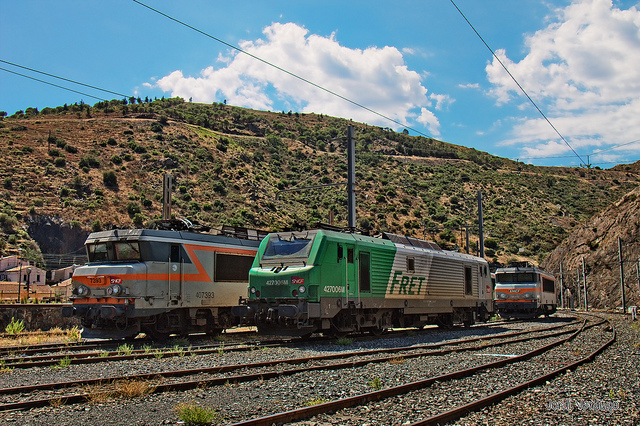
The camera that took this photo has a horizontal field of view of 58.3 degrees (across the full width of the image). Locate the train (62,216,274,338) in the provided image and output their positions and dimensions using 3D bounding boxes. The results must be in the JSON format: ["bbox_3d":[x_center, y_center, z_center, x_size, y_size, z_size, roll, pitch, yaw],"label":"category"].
[{"bbox_3d":[-6.552,3.295,29.893,4.429,5.458,14.907,-1,-7,21],"label":"train"}]

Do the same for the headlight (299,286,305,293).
[{"bbox_3d":[-0.734,3.094,23.155,0.234,0.249,0.054,0,0,17],"label":"headlight"}]

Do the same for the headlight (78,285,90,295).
[{"bbox_3d":[-10.099,3.265,24.304,0.527,0.324,0.129,0,0,11],"label":"headlight"}]

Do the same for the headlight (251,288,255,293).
[{"bbox_3d":[-2.850,3.288,24.273,0.214,0.215,0.052,-1,-7,15],"label":"headlight"}]

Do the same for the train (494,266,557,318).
[{"bbox_3d":[15.274,5.621,42.003,2.365,3.132,7.652,-2,-3,28],"label":"train"}]
